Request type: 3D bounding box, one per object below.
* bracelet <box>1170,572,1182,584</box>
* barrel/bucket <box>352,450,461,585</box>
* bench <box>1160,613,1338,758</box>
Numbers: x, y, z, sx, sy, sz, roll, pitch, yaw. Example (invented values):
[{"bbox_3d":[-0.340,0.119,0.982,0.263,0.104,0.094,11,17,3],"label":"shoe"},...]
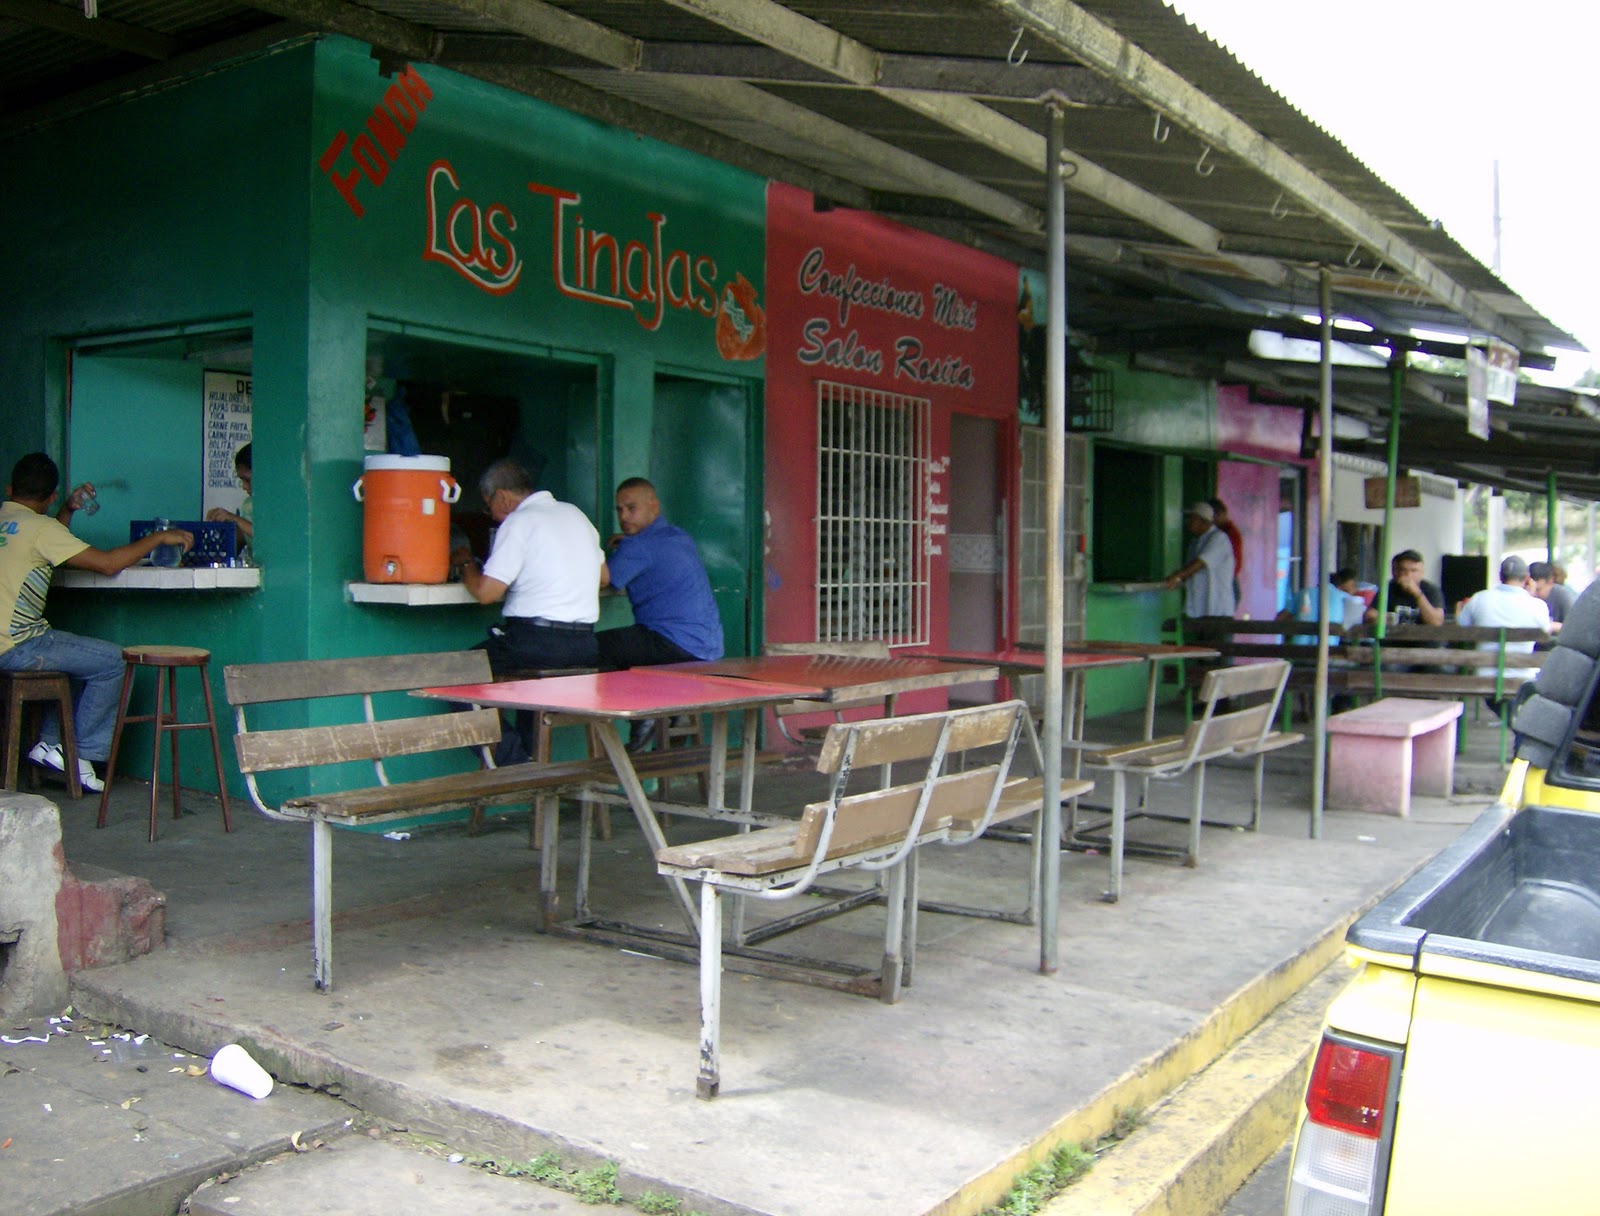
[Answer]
[{"bbox_3d":[3.665,-0.280,14.644,0.032,0.089,0.088,14,40,-26],"label":"bracelet"},{"bbox_3d":[-1.990,-0.450,8.025,0.661,0.787,0.740,2,-2,-28],"label":"barrel/bucket"},{"bbox_3d":[3.237,0.533,10.837,1.272,0.718,0.454,1,5,5],"label":"bench"}]
